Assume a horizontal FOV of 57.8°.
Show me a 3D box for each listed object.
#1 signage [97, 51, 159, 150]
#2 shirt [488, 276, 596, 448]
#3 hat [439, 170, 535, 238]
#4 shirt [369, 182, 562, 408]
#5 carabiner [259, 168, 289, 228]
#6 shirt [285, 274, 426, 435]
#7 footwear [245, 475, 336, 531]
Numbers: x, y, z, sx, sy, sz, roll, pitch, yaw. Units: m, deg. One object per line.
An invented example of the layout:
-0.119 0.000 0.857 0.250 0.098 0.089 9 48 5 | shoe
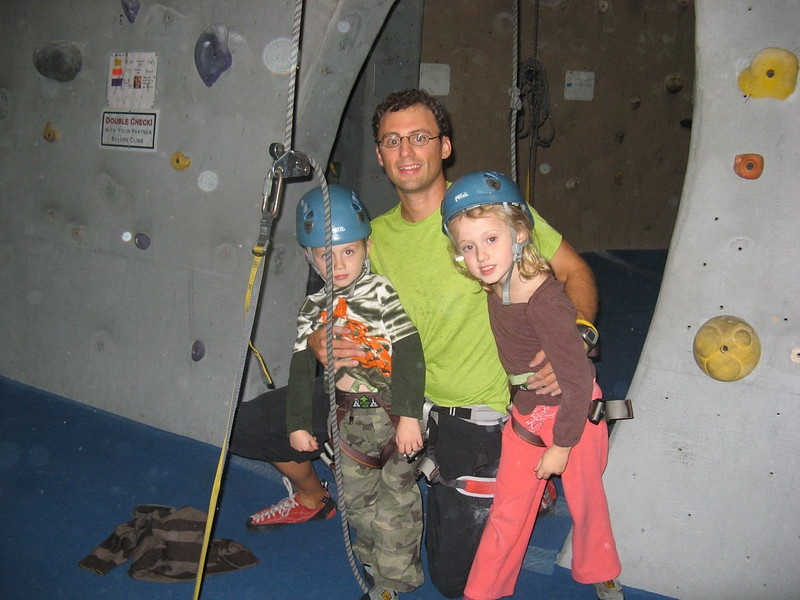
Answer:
-1.629 -1.229 4.385 0.480 0.606 0.065 11 8 21 | signage
0.620 0.273 3.293 0.487 0.753 0.197 1 -5 43 | shirt
0.399 -0.464 3.320 0.324 0.210 0.249 -13 -20 -27 | hat
0.254 0.115 3.613 1.013 0.904 0.357 -8 -7 15 | shirt
-0.522 -0.436 3.060 0.162 0.328 0.052 2 1 30 | carabiner
-0.147 0.179 3.475 0.627 0.808 0.256 0 5 11 | shirt
-0.603 1.177 4.162 0.572 0.269 0.201 3 12 -18 | footwear
